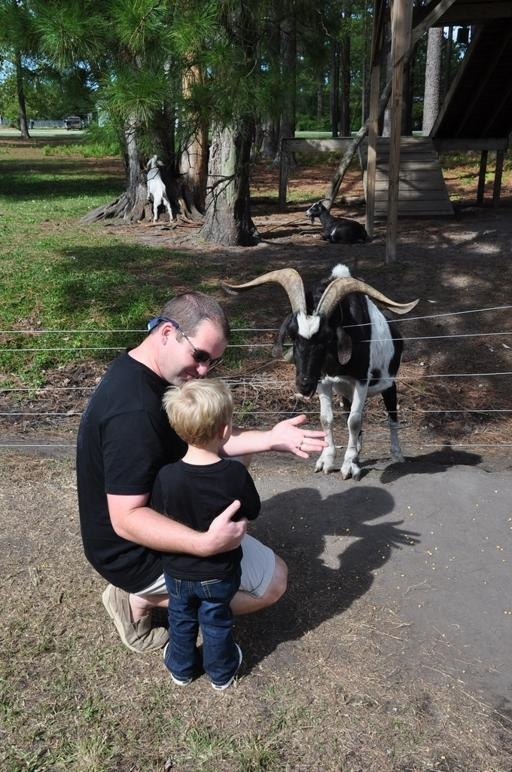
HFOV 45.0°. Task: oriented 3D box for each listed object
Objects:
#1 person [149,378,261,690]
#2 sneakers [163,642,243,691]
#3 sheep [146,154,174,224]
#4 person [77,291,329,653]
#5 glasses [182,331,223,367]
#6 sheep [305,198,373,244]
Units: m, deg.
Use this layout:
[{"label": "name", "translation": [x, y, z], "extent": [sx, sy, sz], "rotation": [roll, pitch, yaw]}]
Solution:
[{"label": "person", "translation": [-0.194, 0.643, 2.456], "extent": [0.419, 1.355, 0.285], "rotation": [-2, 15, -3]}, {"label": "sneakers", "translation": [-0.221, 1.177, 2.600], "extent": [0.207, 0.089, 0.274], "rotation": [2, 17, 3]}, {"label": "sheep", "translation": [-2.380, -4.681, 15.342], "extent": [0.638, 1.293, 1.196], "rotation": [-3, 15, -9]}, {"label": "person", "translation": [-0.248, 0.380, 2.707], "extent": [1.147, 1.485, 0.856], "rotation": [-7, 7, -35]}, {"label": "glasses", "translation": [-0.217, -0.121, 2.500], "extent": [0.139, 0.043, 0.138], "rotation": [22, 36, -47]}, {"label": "sheep", "translation": [1.790, -3.560, 13.454], "extent": [0.888, 0.896, 2.291], "rotation": [-4, 15, -15]}]
